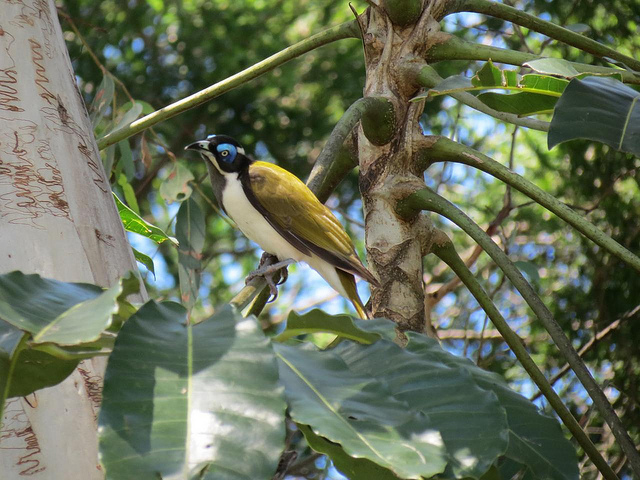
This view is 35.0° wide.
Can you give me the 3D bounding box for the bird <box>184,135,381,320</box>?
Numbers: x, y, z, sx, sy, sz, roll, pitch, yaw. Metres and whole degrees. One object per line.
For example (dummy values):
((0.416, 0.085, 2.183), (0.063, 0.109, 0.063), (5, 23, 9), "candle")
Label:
((-0.175, -0.075, 4.758), (1.043, 0.778, 0.396), (8, -21, 23), "bird")
